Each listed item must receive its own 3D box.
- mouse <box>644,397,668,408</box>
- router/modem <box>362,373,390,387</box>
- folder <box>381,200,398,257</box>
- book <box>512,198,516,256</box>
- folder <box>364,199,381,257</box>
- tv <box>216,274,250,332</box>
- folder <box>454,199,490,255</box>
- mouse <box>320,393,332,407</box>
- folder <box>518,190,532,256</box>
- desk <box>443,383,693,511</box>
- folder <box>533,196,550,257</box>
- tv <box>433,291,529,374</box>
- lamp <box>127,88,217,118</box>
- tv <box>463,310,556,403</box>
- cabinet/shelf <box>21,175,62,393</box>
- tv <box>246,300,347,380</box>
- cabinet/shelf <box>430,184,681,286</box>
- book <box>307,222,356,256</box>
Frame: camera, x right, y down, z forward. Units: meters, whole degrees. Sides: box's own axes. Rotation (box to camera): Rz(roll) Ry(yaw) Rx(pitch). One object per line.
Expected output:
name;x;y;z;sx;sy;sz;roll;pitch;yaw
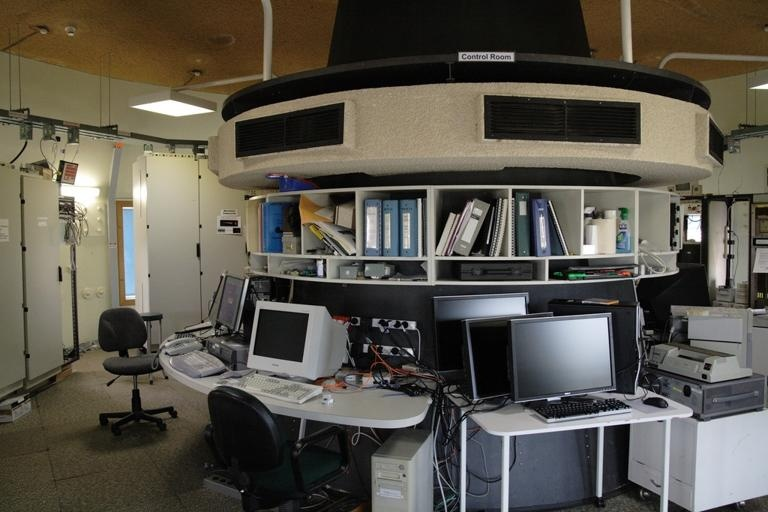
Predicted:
mouse;2.471;1.315;5.314;0.094;0.050;0.158;1;3;-43
router/modem;-0.076;1.184;5.561;0.146;0.051;0.143;1;0;35
folder;0.056;-0.272;5.590;0.185;0.508;0.538;0;-2;0
book;1.221;-0.274;5.549;0.045;0.533;0.039;-1;3;-15
folder;-0.107;-0.268;5.605;0.207;0.527;0.564;0;1;4
tv;-1.645;0.530;6.378;0.071;0.465;0.659;10;-4;-29
folder;0.830;-0.270;5.562;0.349;0.523;0.122;0;3;5
mouse;-0.513;1.286;5.225;0.094;0.086;0.093;0;-1;31
folder;1.327;-0.296;5.550;0.154;0.603;0.084;-1;3;-20
desk;1.627;1.271;5.535;2.299;1.395;1.210;-1;3;-15
folder;1.513;-0.264;5.554;0.200;0.538;0.085;-2;3;-24
tv;0.884;0.734;5.398;0.791;0.526;0.090;-1;-6;-6
lamp;-2.799;-2.044;7.803;0.806;0.202;0.742;1;3;27
tv;1.138;0.926;5.260;0.828;0.563;0.085;-1;2;2
cabinet/shelf;-4.598;0.304;7.884;0.215;2.731;0.751;0;3;0
tv;-0.814;0.647;5.828;1.042;0.758;0.729;0;-3;32
cabinet/shelf;1.676;-0.168;5.824;2.994;0.929;0.780;-1;-3;-20
book;-0.517;-0.107;5.779;0.411;0.119;0.320;32;18;32
